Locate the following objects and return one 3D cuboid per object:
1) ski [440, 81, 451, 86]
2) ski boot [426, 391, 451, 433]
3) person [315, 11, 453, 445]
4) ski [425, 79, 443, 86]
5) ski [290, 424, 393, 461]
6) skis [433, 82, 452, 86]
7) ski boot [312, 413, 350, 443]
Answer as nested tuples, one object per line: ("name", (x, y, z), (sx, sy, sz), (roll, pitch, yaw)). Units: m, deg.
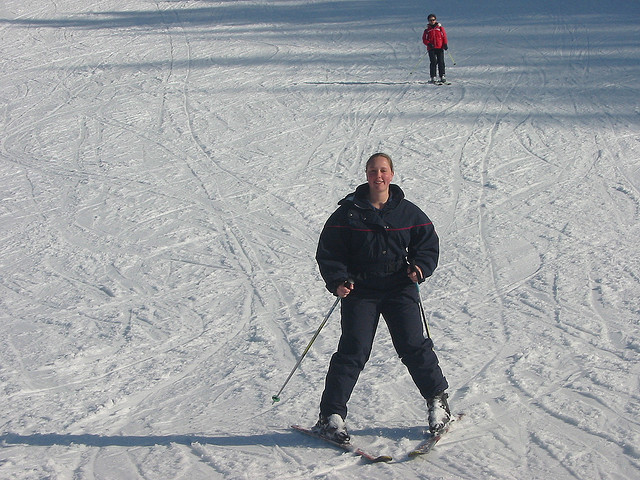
("ski", (2.654, -3.259, 14.829), (0.178, 0.032, 0.211), (-16, 25, -31))
("ski boot", (1.061, 1.536, 6.356), (0.194, 0.174, 0.457), (-19, 8, 26))
("person", (0.544, 0.519, 6.383), (1.191, 2.461, 1.494), (-1, 31, 8))
("ski", (2.399, -3.329, 15.015), (0.203, 0.068, 0.622), (-7, 22, -12))
("ski", (0.196, 1.825, 6.384), (1.161, 0.071, 0.151), (11, 16, 23))
("skis", (2.548, -3.265, 14.881), (0.379, 0.052, 0.074), (5, 67, 27))
("ski boot", (0.103, 1.681, 6.402), (0.173, 0.134, 0.443), (-7, 14, -42))
